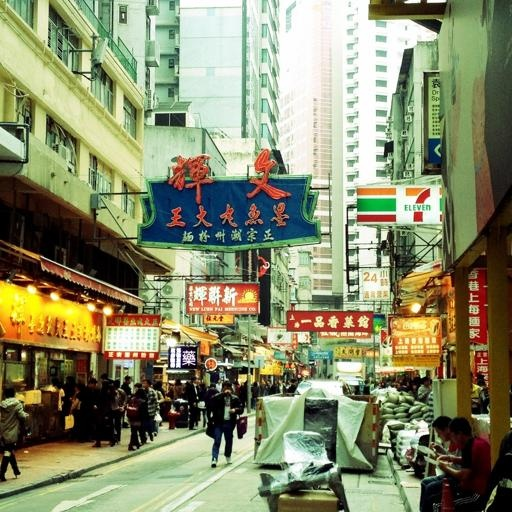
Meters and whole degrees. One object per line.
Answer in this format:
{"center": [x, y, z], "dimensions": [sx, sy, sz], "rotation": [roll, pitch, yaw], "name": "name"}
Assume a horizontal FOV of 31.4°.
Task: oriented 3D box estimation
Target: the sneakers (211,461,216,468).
{"center": [-0.845, 4.199, 18.497], "dimensions": [0.051, 0.136, 0.179], "rotation": [3, -23, -3], "name": "sneakers"}

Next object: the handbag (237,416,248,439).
{"center": [-0.295, 3.561, 19.109], "dimensions": [0.200, 0.444, 0.525], "rotation": [-2, -14, 0], "name": "handbag"}

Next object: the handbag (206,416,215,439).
{"center": [-0.890, 3.555, 18.903], "dimensions": [0.087, 0.380, 0.238], "rotation": [9, -5, -34], "name": "handbag"}

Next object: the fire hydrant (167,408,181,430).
{"center": [-2.753, 5.526, 31.034], "dimensions": [0.485, 0.701, 0.515], "rotation": [6, -5, -27], "name": "fire hydrant"}
